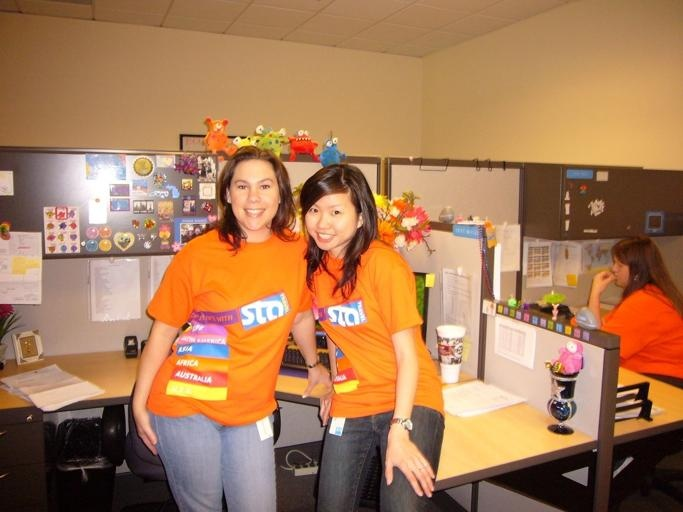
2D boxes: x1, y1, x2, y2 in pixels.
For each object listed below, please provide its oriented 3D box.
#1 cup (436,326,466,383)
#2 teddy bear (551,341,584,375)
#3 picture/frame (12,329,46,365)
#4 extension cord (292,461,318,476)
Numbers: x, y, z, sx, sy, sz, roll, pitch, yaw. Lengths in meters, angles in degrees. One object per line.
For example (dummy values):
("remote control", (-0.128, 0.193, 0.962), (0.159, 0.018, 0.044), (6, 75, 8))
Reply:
("cup", (0.547, 0.495, 2.471), (0.161, 0.258, 0.159), (2, -5, 0))
("teddy bear", (0.931, 0.419, 2.088), (0.115, 0.138, 0.171), (12, -7, 17))
("picture/frame", (-1.752, 0.509, 2.762), (0.040, 0.227, 0.164), (-18, -6, 42))
("extension cord", (-0.230, 1.360, 3.165), (0.115, 0.029, 0.110), (0, -1, -14))
